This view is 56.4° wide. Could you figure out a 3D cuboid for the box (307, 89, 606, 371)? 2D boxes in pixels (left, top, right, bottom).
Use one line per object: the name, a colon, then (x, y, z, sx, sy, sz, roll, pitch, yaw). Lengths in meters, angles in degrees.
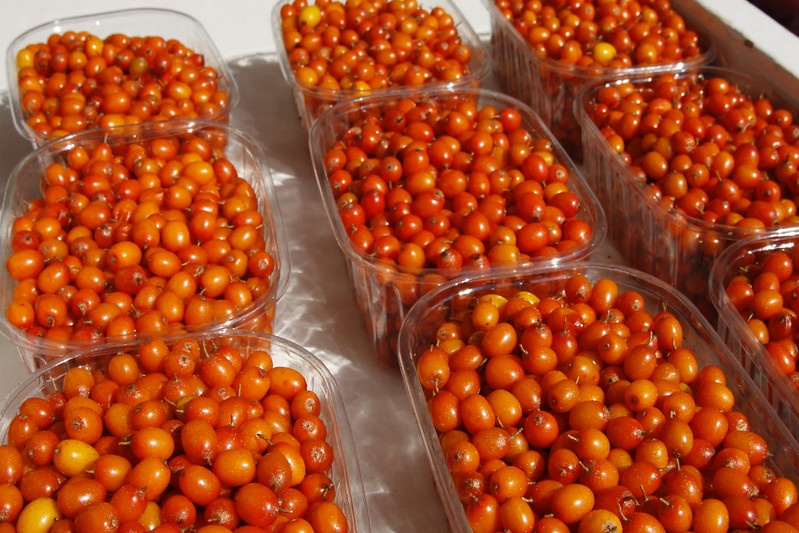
box: (0.213, -0.051, 2.986, 0.927, 0.417, 1.104, 5, 29, 43)
